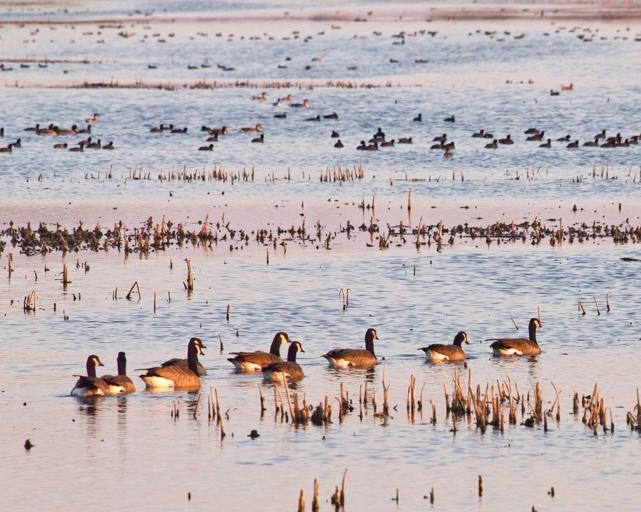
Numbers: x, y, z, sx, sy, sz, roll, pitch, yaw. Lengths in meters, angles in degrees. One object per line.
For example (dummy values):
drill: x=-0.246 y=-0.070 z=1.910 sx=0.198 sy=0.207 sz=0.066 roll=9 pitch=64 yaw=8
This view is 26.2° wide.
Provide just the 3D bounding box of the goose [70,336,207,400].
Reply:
goose: x=-4.455 y=2.531 z=31.724 sx=3.758 sy=1.408 sz=1.094 roll=-1 pitch=6 yaw=-25

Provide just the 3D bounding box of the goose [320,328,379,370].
goose: x=0.776 y=2.269 z=33.607 sx=1.882 sy=1.239 sz=0.672 roll=10 pitch=-14 yaw=-41

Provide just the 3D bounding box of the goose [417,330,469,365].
goose: x=3.160 y=2.258 z=34.022 sx=1.334 sy=0.919 sz=0.543 roll=3 pitch=8 yaw=-28
